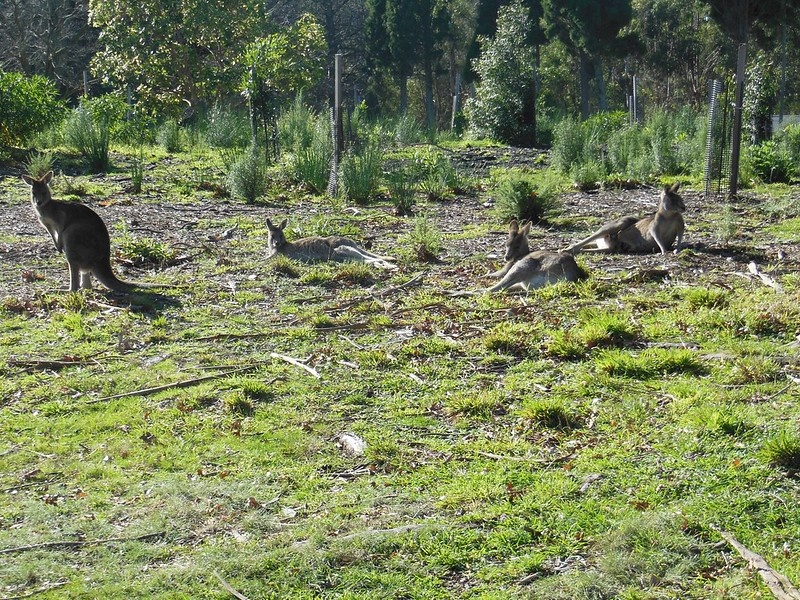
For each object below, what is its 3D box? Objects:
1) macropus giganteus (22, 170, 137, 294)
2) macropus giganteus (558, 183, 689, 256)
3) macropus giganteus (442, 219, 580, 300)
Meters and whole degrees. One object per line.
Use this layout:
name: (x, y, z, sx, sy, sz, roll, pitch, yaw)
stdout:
macropus giganteus: (-3.324, -0.695, 10.767, 1.506, 1.180, 0.438, 10, -3, -21)
macropus giganteus: (2.901, -0.994, 12.557, 1.491, 0.921, 0.553, -1, 3, 26)
macropus giganteus: (1.432, -0.411, 10.931, 1.356, 0.859, 0.533, 0, -14, 14)
